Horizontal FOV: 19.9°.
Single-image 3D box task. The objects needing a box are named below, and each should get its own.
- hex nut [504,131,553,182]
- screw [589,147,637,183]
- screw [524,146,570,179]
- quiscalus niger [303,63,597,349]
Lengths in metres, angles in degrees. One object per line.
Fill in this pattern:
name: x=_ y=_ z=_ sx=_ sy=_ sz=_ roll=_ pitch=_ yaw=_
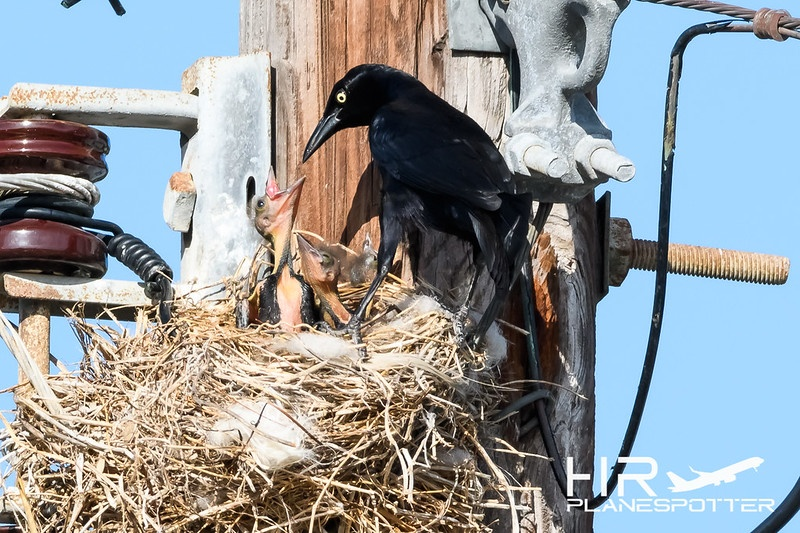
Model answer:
hex nut: x=0.353 y=-0.309 z=6.248 sx=0.092 sy=0.066 sz=0.129 roll=-32 pitch=46 yaw=-16
screw: x=0.582 y=-0.281 z=6.176 sx=0.060 sy=0.086 sz=0.159 roll=3 pitch=1 yaw=-28
screw: x=0.400 y=-0.289 z=6.231 sx=0.120 sy=0.082 sz=0.050 roll=4 pitch=1 yaw=44
quiscalus niger: x=0.047 y=-0.188 z=6.489 sx=0.826 sy=0.742 sz=0.406 roll=7 pitch=-1 yaw=39
